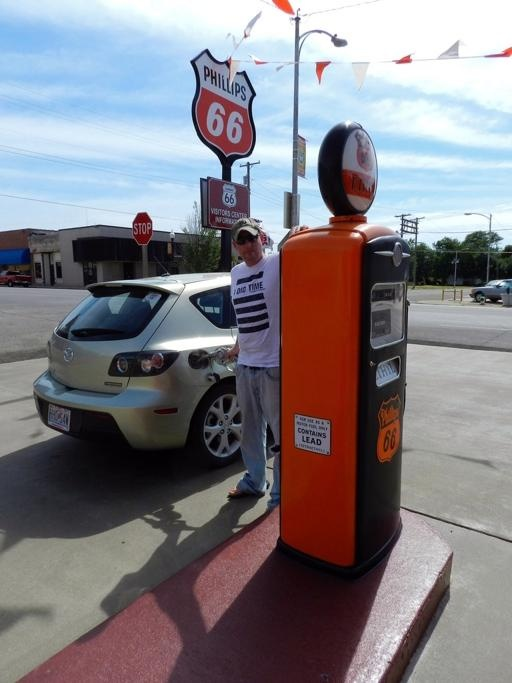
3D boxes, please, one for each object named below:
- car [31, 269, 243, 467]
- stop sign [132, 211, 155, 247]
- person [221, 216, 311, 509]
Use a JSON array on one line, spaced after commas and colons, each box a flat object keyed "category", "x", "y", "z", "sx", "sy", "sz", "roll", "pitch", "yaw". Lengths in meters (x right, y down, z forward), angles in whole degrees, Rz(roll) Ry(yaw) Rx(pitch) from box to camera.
[{"category": "car", "x": -0.595, "y": 0.147, "z": 3.434, "sx": 0.886, "sy": 0.916, "sz": 1.633, "roll": 5, "pitch": 12, "yaw": 40}, {"category": "stop sign", "x": -2.307, "y": -2.255, "z": 9.883, "sx": 0.343, "sy": 0.652, "sz": 0.977, "roll": -4, "pitch": 7, "yaw": -16}, {"category": "person", "x": -0.018, "y": 0.180, "z": 2.588, "sx": 0.270, "sy": 1.618, "sz": 0.604, "roll": -3, "pitch": 7, "yaw": -6}]
